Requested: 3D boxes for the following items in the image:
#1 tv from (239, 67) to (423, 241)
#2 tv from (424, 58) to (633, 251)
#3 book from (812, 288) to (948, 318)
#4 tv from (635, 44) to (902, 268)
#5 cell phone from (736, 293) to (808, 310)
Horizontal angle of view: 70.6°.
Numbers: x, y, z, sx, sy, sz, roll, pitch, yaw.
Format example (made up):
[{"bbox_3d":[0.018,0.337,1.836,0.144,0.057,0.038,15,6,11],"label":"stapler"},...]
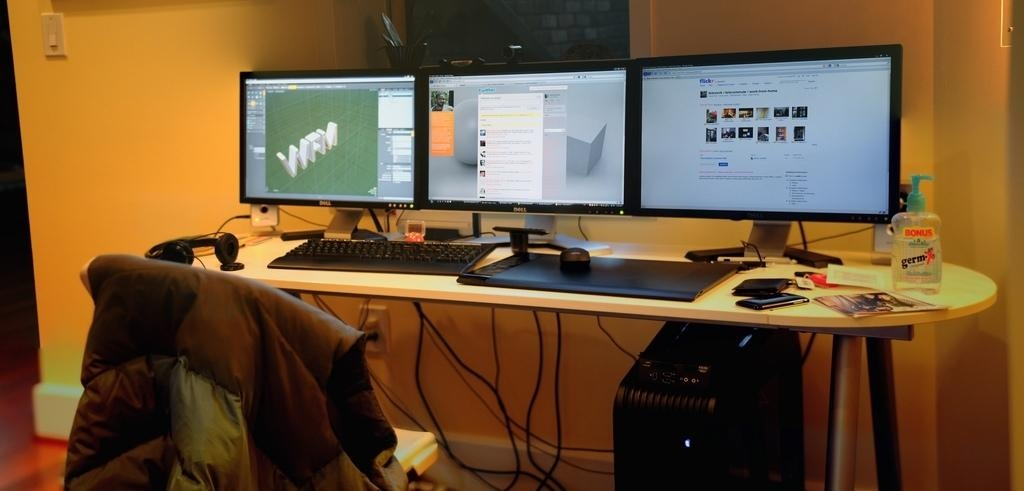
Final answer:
[{"bbox_3d":[-0.888,-0.479,3.564,1.079,0.780,0.324,1,1,9],"label":"tv"},{"bbox_3d":[0.088,-0.464,3.450,1.155,0.795,0.346,1,1,10],"label":"tv"},{"bbox_3d":[1.488,0.241,2.950,0.476,0.060,0.153,-3,12,-6],"label":"book"},{"bbox_3d":[1.187,-0.433,3.298,1.258,0.769,0.306,2,3,14],"label":"tv"},{"bbox_3d":[1.067,0.235,2.950,0.203,0.023,0.106,-1,15,14],"label":"cell phone"}]
